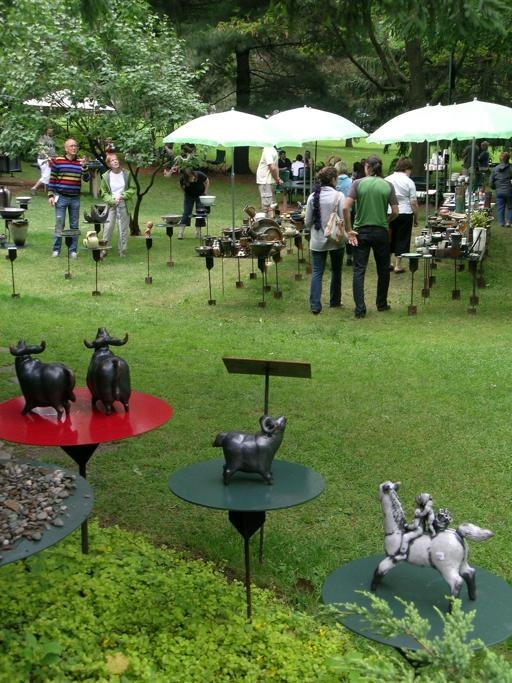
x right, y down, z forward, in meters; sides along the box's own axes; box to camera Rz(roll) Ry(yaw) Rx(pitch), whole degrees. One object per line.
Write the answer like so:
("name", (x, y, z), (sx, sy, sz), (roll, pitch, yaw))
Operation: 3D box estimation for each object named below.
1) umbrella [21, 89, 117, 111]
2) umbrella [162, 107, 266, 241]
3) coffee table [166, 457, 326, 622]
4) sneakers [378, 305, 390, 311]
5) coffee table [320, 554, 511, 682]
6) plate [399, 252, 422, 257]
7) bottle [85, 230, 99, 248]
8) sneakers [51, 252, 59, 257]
("umbrella", (-3.668, -4.657, 13.264), (1.696, 0.297, 0.966), (-1, 7, -14))
("umbrella", (-0.057, -2.615, 10.771), (2.241, 2.024, 2.013), (0, 14, 4))
("coffee table", (-0.044, 0.917, 2.870), (0.640, 0.584, 0.585), (1, 0, -33))
("sneakers", (1.704, -0.468, 9.087), (0.187, 0.075, 0.066), (-15, 27, -38))
("coffee table", (0.494, 0.862, 2.125), (0.642, 0.129, 0.582), (1, 12, 2))
("plate", (1.933, -1.113, 8.607), (0.232, 0.041, 0.239), (0, 3, 31))
("bottle", (-2.705, -1.669, 11.127), (0.232, 0.262, 0.302), (-2, 9, -26))
("sneakers", (-3.761, -1.632, 12.707), (0.120, 0.102, 0.114), (11, -7, 6))
